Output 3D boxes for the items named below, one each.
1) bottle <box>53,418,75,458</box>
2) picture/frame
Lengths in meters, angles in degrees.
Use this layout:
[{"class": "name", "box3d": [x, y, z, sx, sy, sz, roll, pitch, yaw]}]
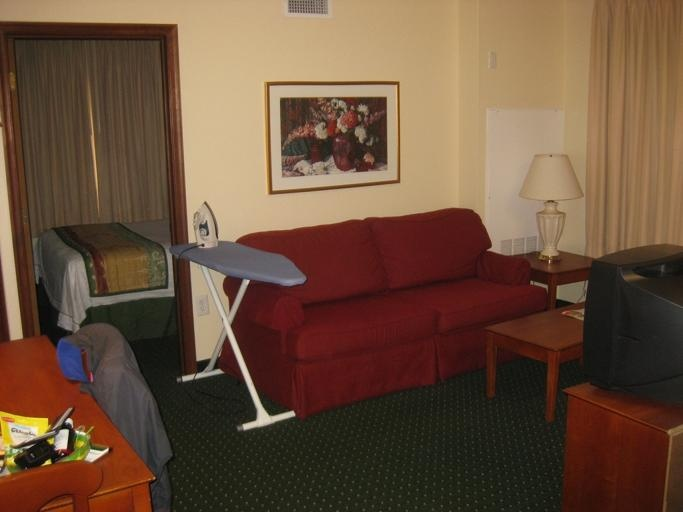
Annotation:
[{"class": "bottle", "box3d": [-0.930, 0.614, 1.929, 0.056, 0.062, 0.198, -7, 36, -21]}, {"class": "picture/frame", "box3d": [-0.110, -0.945, 4.433, 0.802, 0.653, 0.031, -6, 11, -25]}]
